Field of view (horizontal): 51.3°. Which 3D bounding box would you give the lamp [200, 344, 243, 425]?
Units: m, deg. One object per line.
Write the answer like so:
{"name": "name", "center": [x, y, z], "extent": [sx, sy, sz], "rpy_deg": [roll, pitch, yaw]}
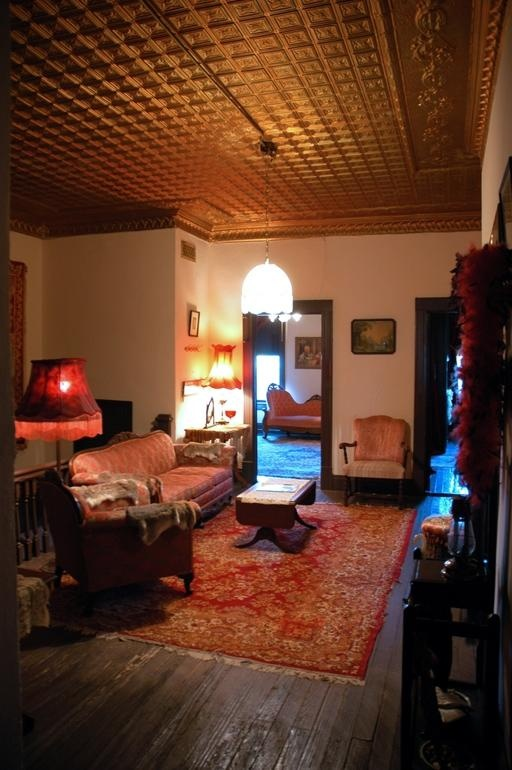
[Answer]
{"name": "lamp", "center": [-0.476, -0.020, 7.399], "extent": [0.515, 1.127, 0.735], "rpy_deg": [0, -1, -2]}

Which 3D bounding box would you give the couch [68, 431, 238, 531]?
{"name": "couch", "center": [-0.941, 1.001, 5.471], "extent": [0.924, 1.111, 2.368], "rpy_deg": [-5, 0, 11]}

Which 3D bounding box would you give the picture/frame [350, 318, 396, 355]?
{"name": "picture/frame", "center": [1.566, -0.653, 6.998], "extent": [0.445, 0.408, 0.048], "rpy_deg": [0, -1, 19]}

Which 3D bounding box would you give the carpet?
{"name": "carpet", "center": [0.175, 1.512, 4.371], "extent": [1.769, 0.054, 3.037], "rpy_deg": [-1, 0, 20]}

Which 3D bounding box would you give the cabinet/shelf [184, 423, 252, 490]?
{"name": "cabinet/shelf", "center": [-0.571, 0.859, 7.089], "extent": [0.900, 0.922, 0.767], "rpy_deg": [-1, -2, 20]}

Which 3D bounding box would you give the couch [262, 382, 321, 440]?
{"name": "couch", "center": [0.889, 0.606, 12.199], "extent": [1.299, 1.108, 0.876], "rpy_deg": [1, 4, 21]}

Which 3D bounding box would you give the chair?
{"name": "chair", "center": [1.478, 0.921, 6.739], "extent": [0.909, 1.066, 0.852], "rpy_deg": [-1, -1, 16]}

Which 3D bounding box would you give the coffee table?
{"name": "coffee table", "center": [0.157, 1.108, 4.922], "extent": [0.458, 0.442, 0.880], "rpy_deg": [-1, 3, 15]}

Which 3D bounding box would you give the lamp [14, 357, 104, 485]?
{"name": "lamp", "center": [-1.390, 0.299, 3.791], "extent": [0.565, 1.016, 0.603], "rpy_deg": [2, 2, 44]}

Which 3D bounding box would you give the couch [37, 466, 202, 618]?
{"name": "couch", "center": [-0.962, 0.971, 3.820], "extent": [0.971, 0.976, 0.841], "rpy_deg": [-1, 5, -42]}
